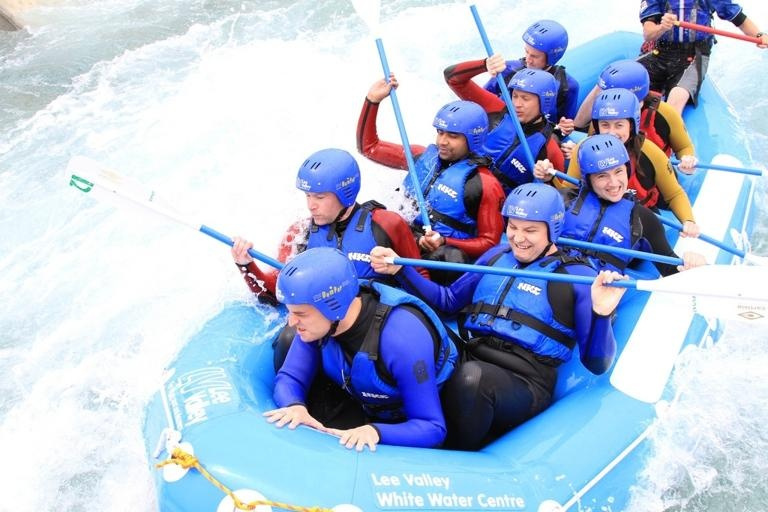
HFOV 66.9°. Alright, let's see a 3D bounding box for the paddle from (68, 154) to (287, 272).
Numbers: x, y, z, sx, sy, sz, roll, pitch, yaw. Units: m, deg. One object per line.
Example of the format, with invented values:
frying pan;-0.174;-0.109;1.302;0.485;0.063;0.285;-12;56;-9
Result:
paddle;-2.189;-0.402;6.029;2.131;0.474;0.176;28;105;-6
